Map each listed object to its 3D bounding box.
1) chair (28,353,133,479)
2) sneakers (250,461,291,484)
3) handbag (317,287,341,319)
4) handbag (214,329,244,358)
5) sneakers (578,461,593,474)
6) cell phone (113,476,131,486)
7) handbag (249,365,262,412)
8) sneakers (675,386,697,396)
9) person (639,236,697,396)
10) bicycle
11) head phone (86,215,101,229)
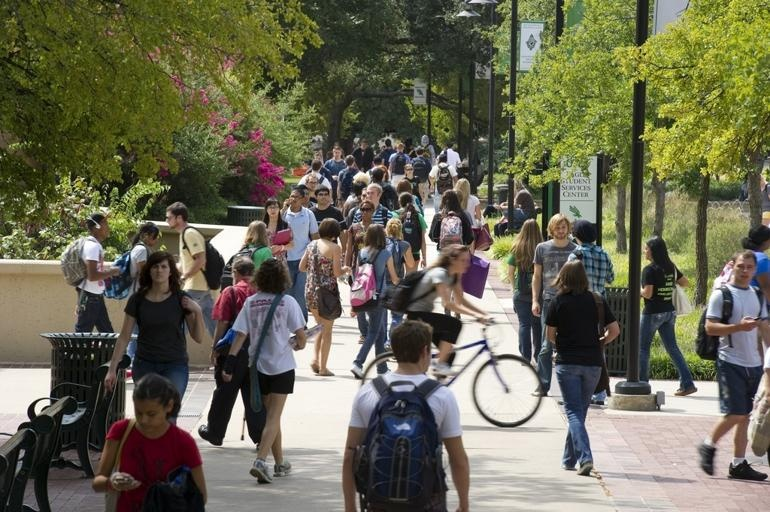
[{"bbox_3d":[-3.080,1.643,9.944,0.631,0.939,1.303,3,1,3],"label":"chair"},{"bbox_3d":[-1.203,2.266,10.381,0.170,0.238,0.533,2,0,23],"label":"sneakers"},{"bbox_3d":[-0.819,0.676,13.964,0.411,0.549,0.285,1,-2,-24],"label":"handbag"},{"bbox_3d":[-1.675,0.928,10.500,0.105,0.310,0.225,26,-11,-18],"label":"handbag"},{"bbox_3d":[2.158,2.286,10.572,0.164,0.155,0.143,0,-1,28],"label":"sneakers"},{"bbox_3d":[-2.090,1.763,7.682,0.078,0.088,0.026,1,20,3],"label":"cell phone"},{"bbox_3d":[-1.359,1.383,10.268,0.121,0.464,0.175,0,-1,-9],"label":"handbag"},{"bbox_3d":[4.274,1.927,13.930,0.326,0.151,0.126,-5,2,30],"label":"sneakers"},{"bbox_3d":[3.910,0.851,13.782,0.898,2.237,0.513,1,-1,-39],"label":"person"},{"bbox_3d":[0.922,1.429,12.738,2.274,1.539,1.183,2,8,6],"label":"bicycle"},{"bbox_3d":[-4.034,-0.486,13.548,0.186,0.195,0.151,48,-4,-25],"label":"head phone"}]
